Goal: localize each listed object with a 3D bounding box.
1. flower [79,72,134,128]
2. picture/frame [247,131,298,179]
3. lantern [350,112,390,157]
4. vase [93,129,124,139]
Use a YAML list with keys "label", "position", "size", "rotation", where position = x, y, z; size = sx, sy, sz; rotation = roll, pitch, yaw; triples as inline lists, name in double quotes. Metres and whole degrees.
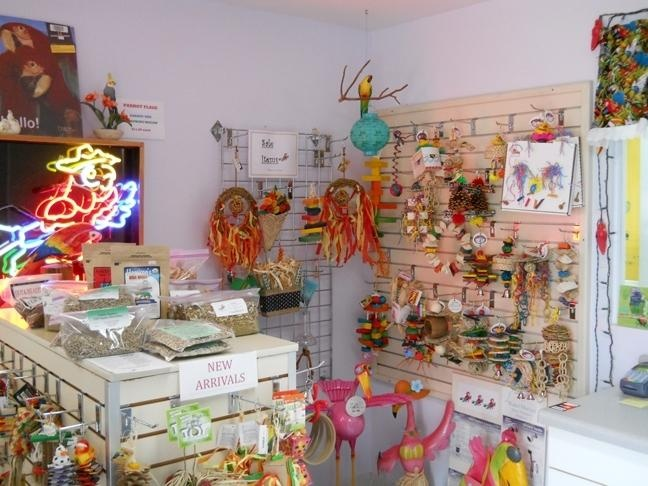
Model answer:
- label: "flower"
  position: [-1.225, -0.802, 2.670]
  size: [0.260, 0.342, 0.252]
  rotation: [-3, 7, -23]
- label: "picture/frame"
  position: [-0.366, -0.610, 3.241]
  size: [0.332, 0.291, 0.037]
  rotation: [-2, 2, -32]
- label: "lantern"
  position: [0.345, -0.740, 3.275]
  size: [0.270, 0.312, 0.275]
  rotation: [1, 6, 9]
- label: "vase"
  position: [-1.195, -0.606, 2.619]
  size: [0.154, 0.071, 0.082]
  rotation: [1, 7, 12]
